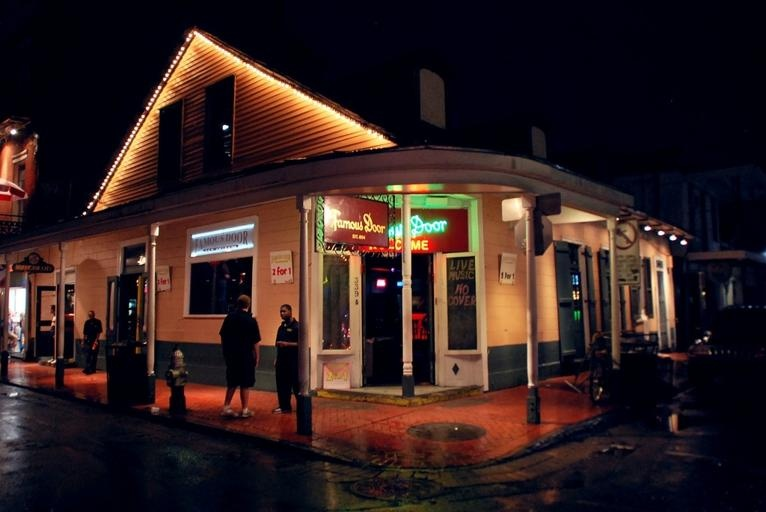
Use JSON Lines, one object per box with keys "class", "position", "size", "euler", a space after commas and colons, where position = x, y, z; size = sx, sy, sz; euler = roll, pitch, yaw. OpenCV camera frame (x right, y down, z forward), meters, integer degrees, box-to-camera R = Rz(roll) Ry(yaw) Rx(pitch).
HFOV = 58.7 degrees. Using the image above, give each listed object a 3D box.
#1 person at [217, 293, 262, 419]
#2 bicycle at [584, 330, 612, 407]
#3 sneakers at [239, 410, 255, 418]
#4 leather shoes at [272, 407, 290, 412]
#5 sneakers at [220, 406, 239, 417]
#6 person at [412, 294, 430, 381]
{"class": "person", "position": [-3.369, 2.375, 16.089], "size": [0.899, 2.792, 0.975], "euler": [-3, 9, -14]}
{"class": "bicycle", "position": [5.458, 2.774, 17.191], "size": [0.553, 1.565, 1.207], "euler": [2, 10, 19]}
{"class": "sneakers", "position": [-3.177, 3.638, 15.929], "size": [0.156, 0.181, 0.299], "euler": [3, 5, 37]}
{"class": "leather shoes", "position": [-2.437, 3.693, 16.348], "size": [0.379, 0.156, 0.148], "euler": [7, -10, 5]}
{"class": "sneakers", "position": [-3.582, 3.628, 16.056], "size": [0.167, 0.200, 0.459], "euler": [-2, -6, 39]}
{"class": "person", "position": [1.031, 2.225, 18.749], "size": [0.495, 2.244, 0.188], "euler": [0, 18, 2]}
